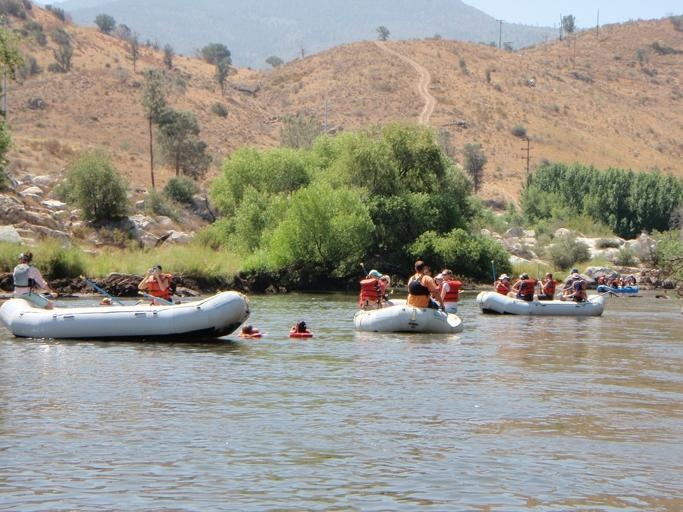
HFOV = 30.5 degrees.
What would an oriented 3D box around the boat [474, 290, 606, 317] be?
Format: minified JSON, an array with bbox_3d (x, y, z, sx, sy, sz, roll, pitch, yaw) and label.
[{"bbox_3d":[14.162,3.502,89.652,8.604,1.619,1.703,2,0,3],"label":"boat"}]
